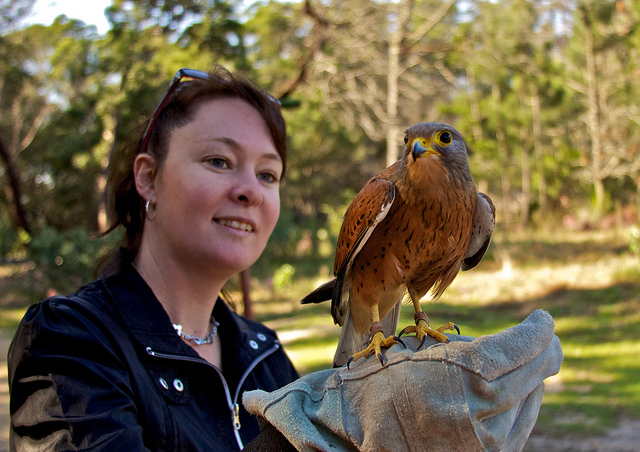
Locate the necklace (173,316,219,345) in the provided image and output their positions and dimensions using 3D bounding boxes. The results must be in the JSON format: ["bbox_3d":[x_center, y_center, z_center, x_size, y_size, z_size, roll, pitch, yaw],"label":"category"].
[{"bbox_3d":[-1.624,1.389,11.873,0.459,0.142,0.396,30,-6,30],"label":"necklace"}]
